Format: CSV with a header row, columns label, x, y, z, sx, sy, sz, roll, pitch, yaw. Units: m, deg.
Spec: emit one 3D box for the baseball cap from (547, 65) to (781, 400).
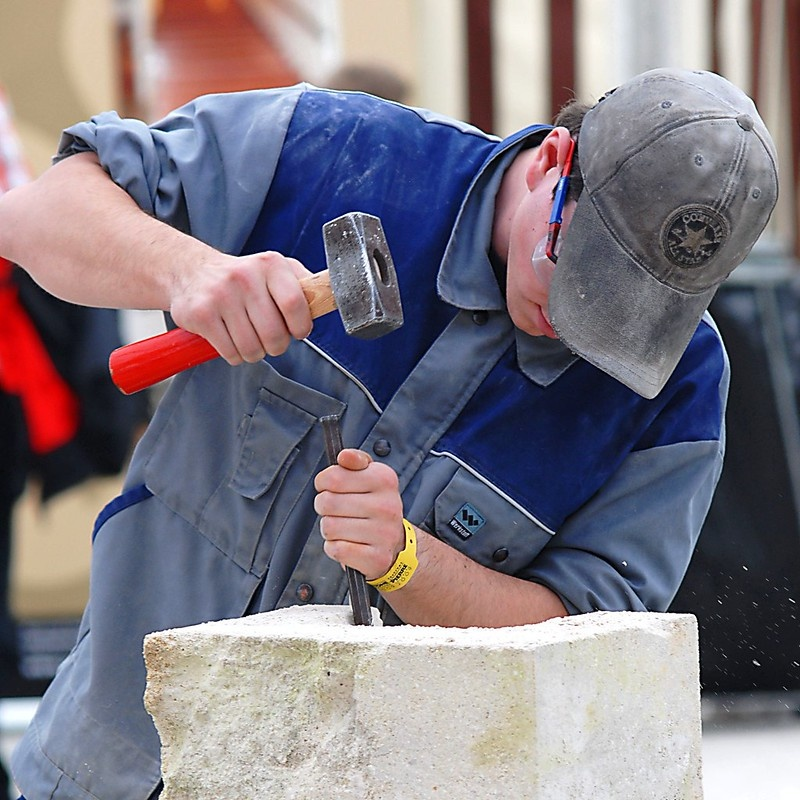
label,x,y,z,sx,sy,sz,roll,pitch,yaw
baseball cap,0.531,-0.366,3.584,0.366,0.453,0.646,-24,55,39
